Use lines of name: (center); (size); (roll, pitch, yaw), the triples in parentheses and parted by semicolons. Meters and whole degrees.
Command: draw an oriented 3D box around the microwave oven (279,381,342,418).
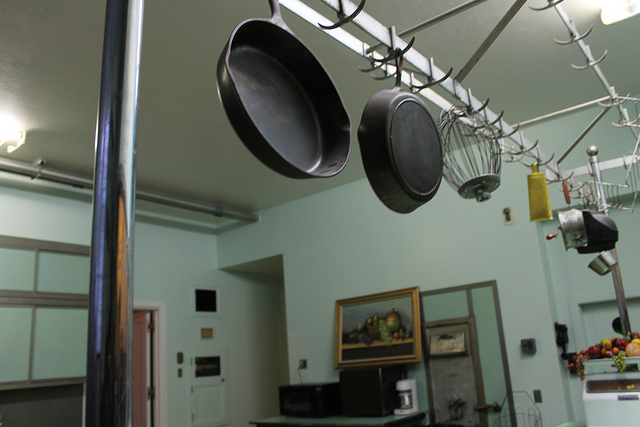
microwave oven: (-0.140, 1.989, 5.160); (0.684, 0.319, 0.257); (-13, -20, 22)

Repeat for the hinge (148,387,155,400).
hinge: (-2.072, 2.202, 5.925); (0.081, 0.115, 0.027); (5, -3, -6)

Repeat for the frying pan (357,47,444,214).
frying pan: (0.308, -0.227, 1.795); (0.381, 0.427, 0.162); (11, -23, -39)

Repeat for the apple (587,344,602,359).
apple: (1.743, 0.879, 3.080); (0.060, 0.077, 0.027); (-18, -16, -6)

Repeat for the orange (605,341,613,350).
orange: (1.795, 0.822, 3.017); (0.036, 0.046, 0.037); (-4, -1, -9)

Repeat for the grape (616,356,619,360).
grape: (1.811, 0.877, 2.953); (0.016, 0.016, 0.010); (-14, -21, 27)

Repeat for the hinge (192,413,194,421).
hinge: (-1.602, 2.553, 6.081); (0.017, 0.088, 0.011); (6, -20, -28)

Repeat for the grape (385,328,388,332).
grape: (0.710, 1.259, 5.248); (0.017, 0.030, 0.007); (-25, -14, -15)

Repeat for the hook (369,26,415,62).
hook: (0.296, -0.656, 1.874); (0.131, 0.135, 0.170); (6, -5, -38)

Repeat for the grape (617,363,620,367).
grape: (1.815, 0.922, 2.951); (0.012, 0.022, 0.026); (-10, -19, 17)

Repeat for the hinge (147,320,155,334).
hinge: (-2.133, 1.427, 6.088); (0.141, 0.141, 0.035); (2, -7, -13)

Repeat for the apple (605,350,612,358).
apple: (1.789, 0.871, 3.007); (0.038, 0.027, 0.039); (-23, 5, 4)

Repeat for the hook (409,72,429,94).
hook: (0.418, -0.577, 2.065); (0.086, 0.093, 0.025); (2, -25, -23)

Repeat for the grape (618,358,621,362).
grape: (1.817, 0.892, 2.947); (0.005, 0.019, 0.013); (4, -5, 5)

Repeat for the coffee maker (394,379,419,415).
coffee maker: (0.850, 1.824, 4.839); (0.179, 0.321, 0.249); (-11, -15, 31)

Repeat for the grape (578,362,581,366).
grape: (1.641, 0.955, 3.072); (0.014, 0.020, 0.007); (8, 5, 10)
